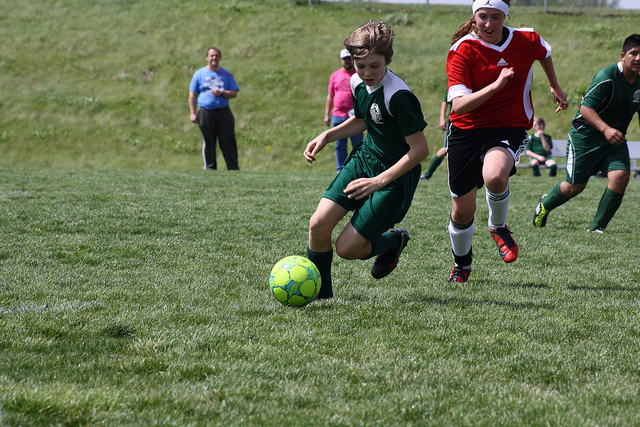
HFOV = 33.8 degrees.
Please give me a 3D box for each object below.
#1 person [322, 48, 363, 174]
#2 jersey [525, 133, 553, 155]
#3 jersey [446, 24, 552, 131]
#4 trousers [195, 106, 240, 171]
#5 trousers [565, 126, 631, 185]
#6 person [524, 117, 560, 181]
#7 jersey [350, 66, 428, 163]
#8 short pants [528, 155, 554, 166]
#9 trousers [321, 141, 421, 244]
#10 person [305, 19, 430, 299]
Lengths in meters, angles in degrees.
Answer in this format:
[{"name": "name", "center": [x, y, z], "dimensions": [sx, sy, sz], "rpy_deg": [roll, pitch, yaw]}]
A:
[{"name": "person", "center": [0.423, -2.116, 21.788], "dimensions": [0.940, 2.582, 0.926], "rpy_deg": [0, -5, -7]}, {"name": "jersey", "center": [4.699, -1.514, 22.758], "dimensions": [0.678, 0.626, 0.371], "rpy_deg": [-1, 1, 1]}, {"name": "jersey", "center": [2.576, -1.987, 15.473], "dimensions": [1.430, 1.474, 0.707], "rpy_deg": [1, 16, 2]}, {"name": "trousers", "center": [-2.118, -1.565, 21.828], "dimensions": [0.855, 1.400, 0.450], "rpy_deg": [-5, 16, -18]}, {"name": "trousers", "center": [4.438, -0.969, 17.426], "dimensions": [1.422, 1.334, 0.788], "rpy_deg": [0, 2, 5]}, {"name": "person", "center": [4.916, -1.414, 23.485], "dimensions": [0.589, 1.437, 0.812], "rpy_deg": [-5, 2, -3]}, {"name": "jersey", "center": [0.565, -1.384, 14.890], "dimensions": [0.711, 1.639, 1.783], "rpy_deg": [2, 0, -4]}, {"name": "short pants", "center": [4.921, -1.236, 23.559], "dimensions": [0.476, 0.232, 0.533], "rpy_deg": [3, 16, 7]}, {"name": "trousers", "center": [0.773, -0.173, 15.205], "dimensions": [1.109, 1.528, 0.498], "rpy_deg": [43, -13, 18]}, {"name": "person", "center": [0.692, -0.754, 14.904], "dimensions": [1.571, 3.843, 0.955], "rpy_deg": [-1, 16, -3]}]
